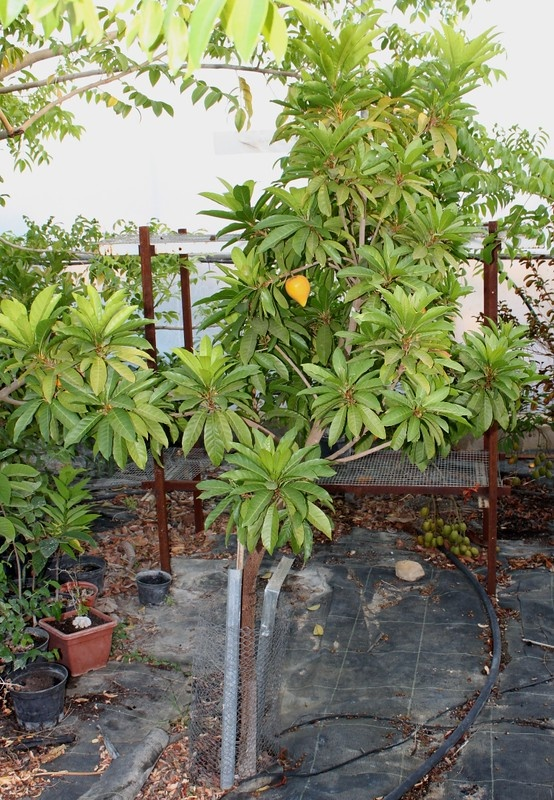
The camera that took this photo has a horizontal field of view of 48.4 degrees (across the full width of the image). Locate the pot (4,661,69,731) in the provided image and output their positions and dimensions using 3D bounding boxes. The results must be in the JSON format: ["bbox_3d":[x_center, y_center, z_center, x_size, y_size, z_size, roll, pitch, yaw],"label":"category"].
[{"bbox_3d":[-1.144,1.408,2.966,0.270,0.190,0.283,1,-3,0],"label":"pot"}]

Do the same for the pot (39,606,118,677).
[{"bbox_3d":[-1.097,1.357,3.407,0.387,0.237,0.317,2,0,-43],"label":"pot"}]

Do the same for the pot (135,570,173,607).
[{"bbox_3d":[-0.849,1.302,4.252,0.232,0.160,0.251,0,10,0],"label":"pot"}]
